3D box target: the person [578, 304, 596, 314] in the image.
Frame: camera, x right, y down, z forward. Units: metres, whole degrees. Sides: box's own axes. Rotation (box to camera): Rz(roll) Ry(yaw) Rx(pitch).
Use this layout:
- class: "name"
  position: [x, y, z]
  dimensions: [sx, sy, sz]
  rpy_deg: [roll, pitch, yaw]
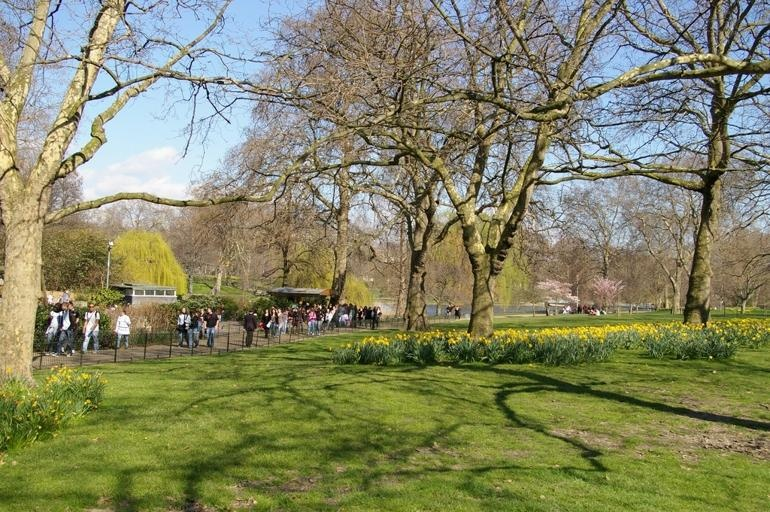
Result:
- class: "person"
  position: [20.793, 5.487, 65.745]
  dimensions: [1.093, 0.760, 1.090]
  rpy_deg: [-2, 0, -33]
